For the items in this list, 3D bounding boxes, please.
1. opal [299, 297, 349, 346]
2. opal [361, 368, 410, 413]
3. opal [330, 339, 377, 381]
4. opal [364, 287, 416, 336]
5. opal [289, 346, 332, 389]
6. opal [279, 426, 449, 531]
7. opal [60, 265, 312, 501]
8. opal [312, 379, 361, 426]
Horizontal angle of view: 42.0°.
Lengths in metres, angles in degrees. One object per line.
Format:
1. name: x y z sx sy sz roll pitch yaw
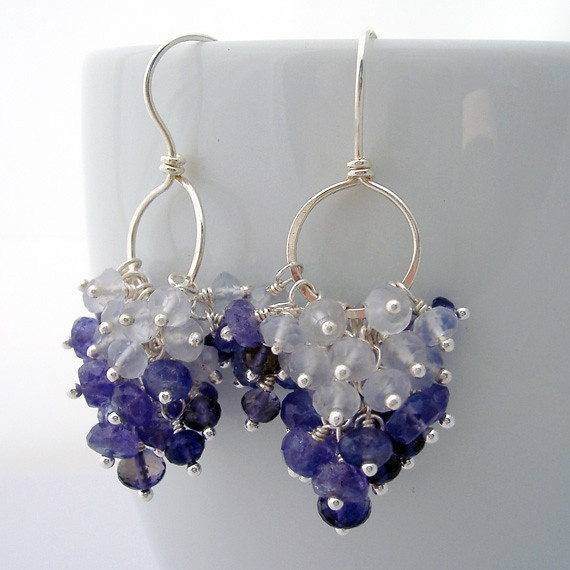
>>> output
1. opal: 0.050 0.045 0.958 0.065 0.053 0.050 1 9 2
2. opal: 0.125 0.136 0.951 0.063 0.051 0.057 0 -9 3
3. opal: 0.086 0.096 0.952 0.061 0.051 0.048 -2 -2 -3
4. opal: 0.133 0.035 0.958 0.050 0.063 0.035 -2 16 37
5. opal: 0.034 0.104 0.963 0.061 0.051 0.053 -1 5 10
6. opal: 0.074 0.233 1.012 0.185 0.147 0.066 6 -2 -5
7. opal: -0.118 0.142 1.126 0.387 0.292 0.194 3 -27 12
8. opal: 0.066 0.160 0.961 0.071 0.021 0.077 4 8 -2
